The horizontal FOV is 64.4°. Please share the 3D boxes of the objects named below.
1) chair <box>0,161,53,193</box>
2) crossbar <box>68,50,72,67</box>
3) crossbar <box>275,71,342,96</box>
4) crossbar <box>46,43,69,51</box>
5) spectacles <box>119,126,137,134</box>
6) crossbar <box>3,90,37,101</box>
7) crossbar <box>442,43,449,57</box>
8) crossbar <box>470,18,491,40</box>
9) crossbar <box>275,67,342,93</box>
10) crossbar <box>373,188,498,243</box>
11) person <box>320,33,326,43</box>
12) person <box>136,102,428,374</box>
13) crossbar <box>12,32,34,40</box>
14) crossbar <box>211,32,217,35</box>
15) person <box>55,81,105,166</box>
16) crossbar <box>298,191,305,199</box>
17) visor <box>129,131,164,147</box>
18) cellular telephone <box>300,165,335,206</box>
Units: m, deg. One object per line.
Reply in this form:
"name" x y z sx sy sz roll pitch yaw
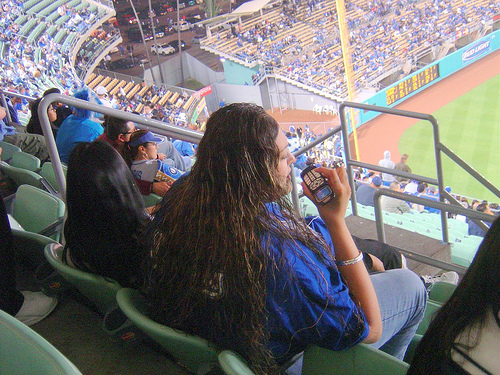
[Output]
"chair" -1.260 -0.057 2.237 0.107 0.155 0.121 29 27 -9
"crossbar" -7.661 -5.541 16.888 0.145 0.688 0.454 3 5 -34
"crossbar" 2.871 -5.090 19.467 3.152 0.270 0.066 28 6 -8
"crossbar" -7.990 -5.869 16.493 0.127 0.175 1.192 8 3 14
"spectacles" -0.791 -0.372 2.557 0.073 0.024 0.074 23 29 10
"crossbar" -2.396 -0.955 4.105 0.268 0.079 0.701 6 4 -33
"crossbar" 9.461 -6.656 19.107 0.105 0.602 0.505 9 5 36
"crossbar" 11.412 -7.913 19.643 1.239 1.055 0.287 4 5 -36
"crossbar" 2.964 -5.302 19.629 3.510 0.414 0.154 23 28 -9
"crossbar" 2.129 0.341 4.621 1.113 0.054 0.641 17 -30 51
"person" 4.078 -8.322 22.078 0.829 0.136 0.214 60 0 41
"person" 0.004 0.142 1.049 0.707 0.718 0.296 8 5 18
"crossbar" -8.550 -5.720 14.953 0.726 0.112 0.233 5 5 -40
"crossbar" -2.077 -9.011 23.127 0.077 0.372 0.079 22 -31 17
"person" -1.183 -0.559 3.002 0.212 0.263 0.762 -2 -38 -5
"crossbar" 0.386 0.056 2.987 0.020 0.027 0.105 39 -3 11
"visor" -0.601 -0.284 2.327 0.143 0.051 0.091 -17 16 -25
"cellular telephone" 0.189 -0.005 1.090 0.124 0.054 0.030 63 10 27
